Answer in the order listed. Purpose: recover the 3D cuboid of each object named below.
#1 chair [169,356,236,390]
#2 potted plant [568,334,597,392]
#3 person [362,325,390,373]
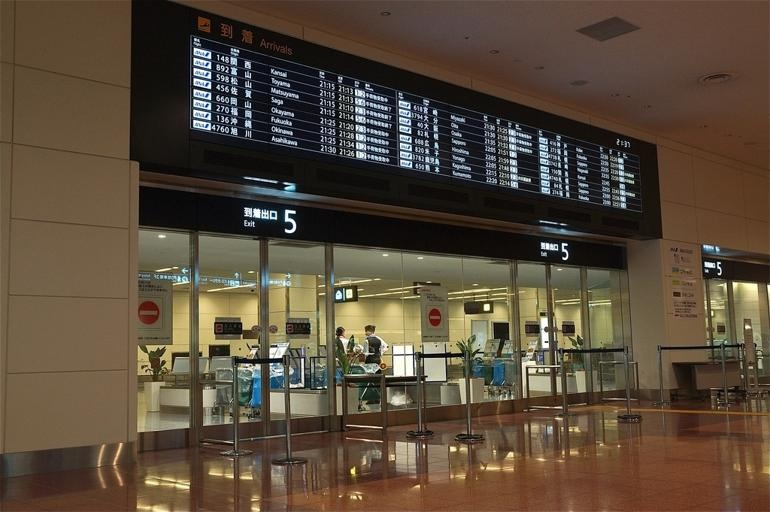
[{"bbox_3d":[-2.499,1.571,8.212,0.703,0.366,0.263,6,-10,-42],"label":"chair"},{"bbox_3d":[3.907,2.128,12.211,0.436,1.129,0.920,-5,-10,18],"label":"potted plant"},{"bbox_3d":[-0.184,1.482,9.862,0.180,0.734,0.506,-9,-13,39],"label":"person"}]
